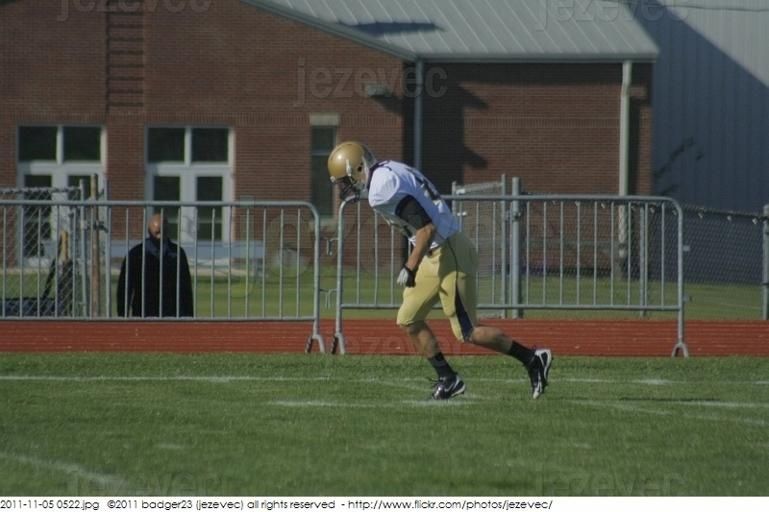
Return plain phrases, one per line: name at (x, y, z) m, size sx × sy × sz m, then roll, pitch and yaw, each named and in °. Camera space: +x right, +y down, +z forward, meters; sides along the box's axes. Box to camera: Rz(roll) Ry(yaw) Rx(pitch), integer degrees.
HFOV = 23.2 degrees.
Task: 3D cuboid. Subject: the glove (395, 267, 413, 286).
glove at (0.423, 0.346, 35.741) m, size 0.309 × 0.357 × 0.269 m, roll -2°, pitch -2°, yaw -1°
